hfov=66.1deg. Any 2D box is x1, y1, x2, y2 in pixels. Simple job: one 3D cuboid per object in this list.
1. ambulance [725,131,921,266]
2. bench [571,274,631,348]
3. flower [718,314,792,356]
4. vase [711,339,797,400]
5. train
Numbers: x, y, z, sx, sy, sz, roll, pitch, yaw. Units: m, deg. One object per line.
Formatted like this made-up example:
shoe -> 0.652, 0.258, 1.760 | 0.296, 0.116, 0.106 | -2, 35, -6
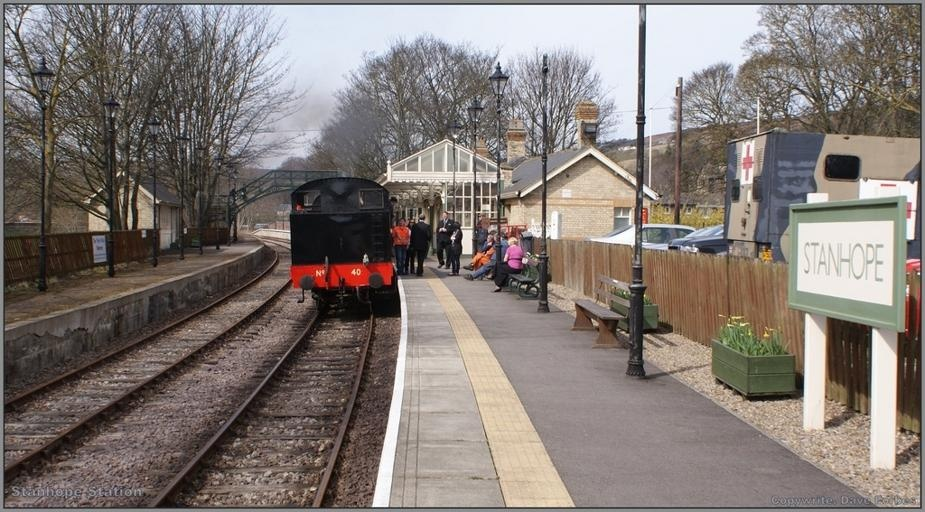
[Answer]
ambulance -> 10.800, -1.786, 20.902 | 5.319, 3.797, 4.940 | 0, 6, 12
bench -> 3.923, 1.012, 19.262 | 1.460, 1.810, 3.650 | 1, 1, -5
flower -> 6.459, 1.956, 15.855 | 1.056, 0.558, 1.334 | 2, 3, -5
vase -> 6.316, 2.499, 15.454 | 1.639, 1.054, 0.781 | 2, 7, 22
train -> -4.104, -0.455, 25.110 | 3.114, 3.568, 8.397 | 0, 0, -8
